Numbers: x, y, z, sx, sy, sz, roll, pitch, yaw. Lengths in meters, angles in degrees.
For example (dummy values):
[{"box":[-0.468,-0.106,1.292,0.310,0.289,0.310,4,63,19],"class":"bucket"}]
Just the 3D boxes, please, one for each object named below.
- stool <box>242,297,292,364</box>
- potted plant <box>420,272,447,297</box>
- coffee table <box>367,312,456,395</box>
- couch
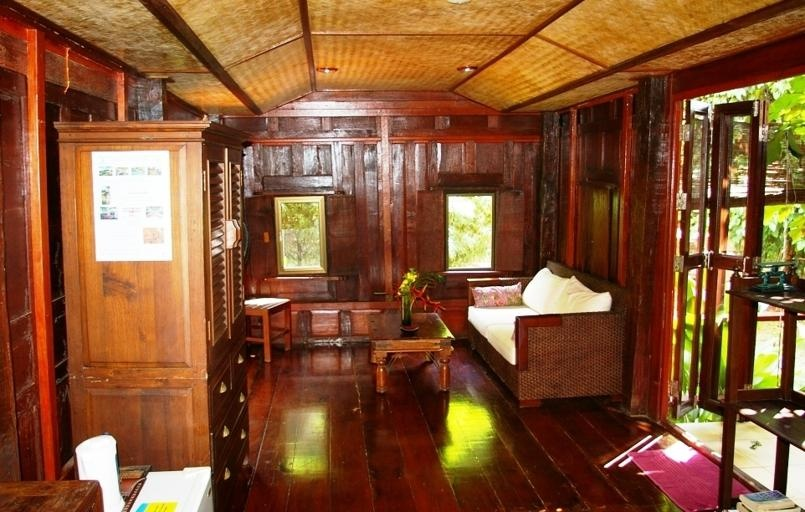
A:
[{"box":[-1.934,0.967,7.653,0.581,0.387,0.549,-18,0,19],"class":"stool"},{"box":[0.395,0.365,7.012,0.438,0.299,0.370,0,3,1],"class":"potted plant"},{"box":[0.082,1.095,6.640,0.873,0.651,0.899,-2,13,-6],"class":"coffee table"},{"box":[1.620,0.836,6.534,1.284,1.198,1.631,-2,13,-4],"class":"couch"}]
